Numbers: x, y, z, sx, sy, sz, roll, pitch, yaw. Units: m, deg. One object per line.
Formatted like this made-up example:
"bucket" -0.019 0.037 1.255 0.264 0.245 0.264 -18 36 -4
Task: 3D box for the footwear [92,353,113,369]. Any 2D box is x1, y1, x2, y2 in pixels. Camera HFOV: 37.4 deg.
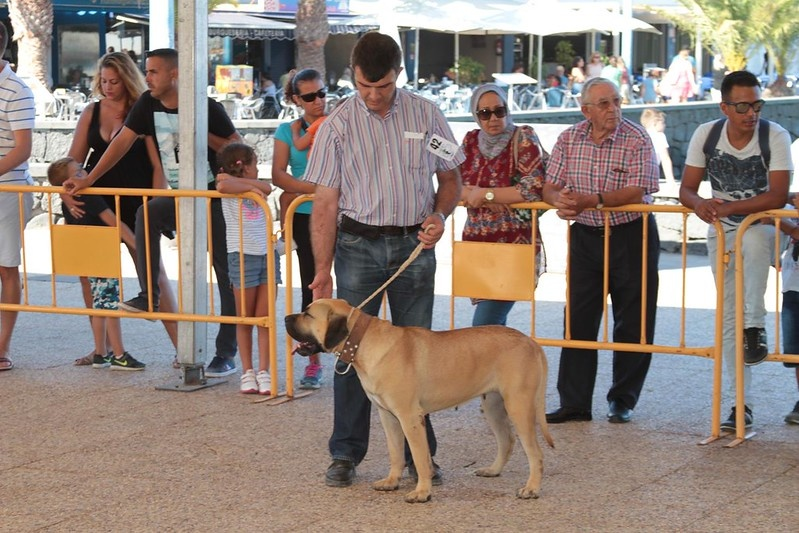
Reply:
"footwear" -2.820 0.887 11.005 0.099 0.089 0.245 2 6 25

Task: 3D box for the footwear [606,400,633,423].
"footwear" 1.841 1.217 9.816 0.209 0.142 0.429 0 -3 8

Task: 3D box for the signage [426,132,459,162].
"signage" 0.297 -0.892 8.724 0.240 0.141 0.028 26 -1 -7

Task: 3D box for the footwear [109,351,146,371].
"footwear" -2.568 0.896 10.918 0.397 0.129 0.131 2 2 0

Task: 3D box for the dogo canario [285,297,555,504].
"dogo canario" 0.189 0.970 8.575 1.874 1.469 0.396 -1 12 -5

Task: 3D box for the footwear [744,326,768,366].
"footwear" 2.844 0.633 9.380 0.153 0.312 0.149 -2 -16 33

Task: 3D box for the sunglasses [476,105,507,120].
"sunglasses" 0.757 -1.278 9.731 0.249 0.118 0.095 0 11 0

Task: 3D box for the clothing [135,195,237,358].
"clothing" -1.946 0.073 10.640 1.912 1.451 0.127 4 12 25

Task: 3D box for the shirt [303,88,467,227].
"shirt" -0.162 -0.804 8.872 1.662 0.969 0.633 -2 10 -6

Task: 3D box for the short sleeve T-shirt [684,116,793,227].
"short sleeve T-shirt" 2.757 -0.736 9.581 0.856 0.883 0.444 3 12 14

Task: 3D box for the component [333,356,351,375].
"component" -0.424 0.743 8.663 0.142 0.148 0.057 11 2 -8

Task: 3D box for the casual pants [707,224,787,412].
"casual pants" 2.767 0.408 9.590 0.478 1.544 0.553 -7 14 -27

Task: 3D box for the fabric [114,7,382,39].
"fabric" -2.718 -4.821 23.003 6.210 0.473 4.682 0 8 -3

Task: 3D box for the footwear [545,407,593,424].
"footwear" 1.405 1.252 9.868 0.431 0.133 0.133 3 -1 -4

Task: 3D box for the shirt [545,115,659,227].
"shirt" 1.721 -0.852 9.837 1.070 0.712 0.520 8 24 39

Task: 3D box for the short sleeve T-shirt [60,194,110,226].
"short sleeve T-shirt" -2.882 -0.530 10.745 0.321 0.227 0.153 8 16 8

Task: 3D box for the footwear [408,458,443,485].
"footwear" 0.186 1.548 8.860 0.141 0.128 0.353 1 7 -6

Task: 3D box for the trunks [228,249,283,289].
"trunks" -1.282 0.015 10.457 0.550 0.292 0.363 -1 0 -30

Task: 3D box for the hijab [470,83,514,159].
"hijab" 0.775 -1.230 9.865 0.379 0.627 0.278 0 12 3
